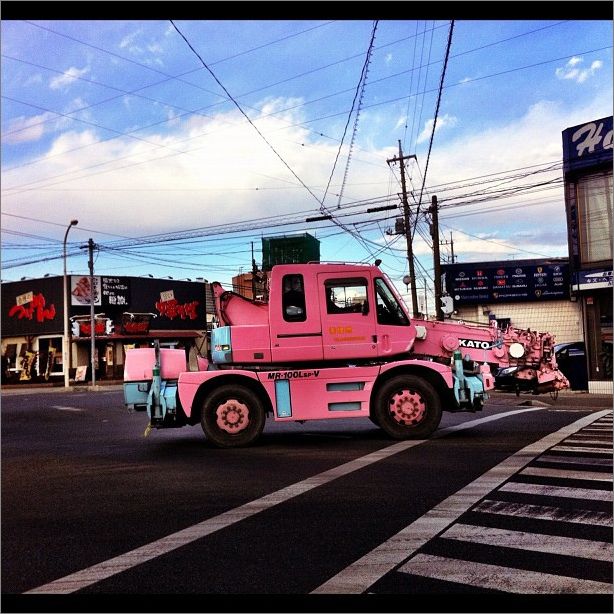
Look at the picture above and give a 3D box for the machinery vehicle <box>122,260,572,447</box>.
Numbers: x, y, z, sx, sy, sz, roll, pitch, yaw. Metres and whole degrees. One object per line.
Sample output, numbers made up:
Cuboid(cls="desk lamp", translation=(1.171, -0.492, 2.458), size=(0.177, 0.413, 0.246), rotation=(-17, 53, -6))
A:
Cuboid(cls="machinery vehicle", translation=(1.101, 0.840, 11.684), size=(8.871, 3.508, 3.143), rotation=(-2, -2, -1))
